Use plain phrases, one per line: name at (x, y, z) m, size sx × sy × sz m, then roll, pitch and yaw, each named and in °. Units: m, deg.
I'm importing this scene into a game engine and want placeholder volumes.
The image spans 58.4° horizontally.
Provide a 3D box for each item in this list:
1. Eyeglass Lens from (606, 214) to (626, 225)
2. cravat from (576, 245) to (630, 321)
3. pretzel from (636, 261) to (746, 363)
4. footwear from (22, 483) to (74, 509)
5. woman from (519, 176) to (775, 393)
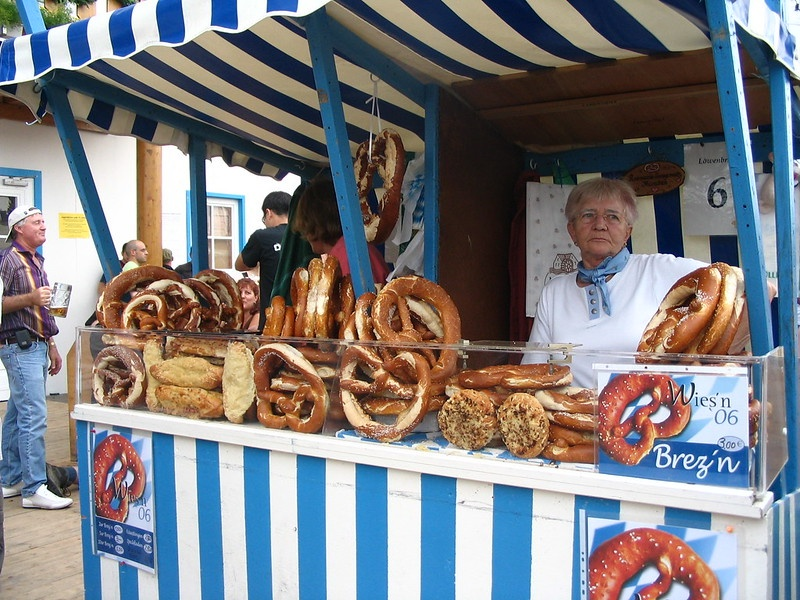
Eyeglass Lens at (1.084, -0.411, 3.638) m, size 0.053 × 0.028 × 0.059 m, roll 1°, pitch -29°, yaw 13°
cravat at (1.041, -0.076, 3.722) m, size 0.252 × 0.456 × 0.198 m, roll -7°, pitch -17°, yaw 26°
pretzel at (1.135, 0.111, 2.727) m, size 0.141 × 0.342 × 0.418 m, roll 26°, pitch -56°, yaw -33°
footwear at (-2.680, 1.539, 5.525) m, size 0.362 × 0.203 × 0.165 m, roll 4°, pitch -1°, yaw -7°
woman at (1.123, 0.018, 3.699) m, size 1.253 × 1.323 × 0.441 m, roll 1°, pitch -6°, yaw 38°
